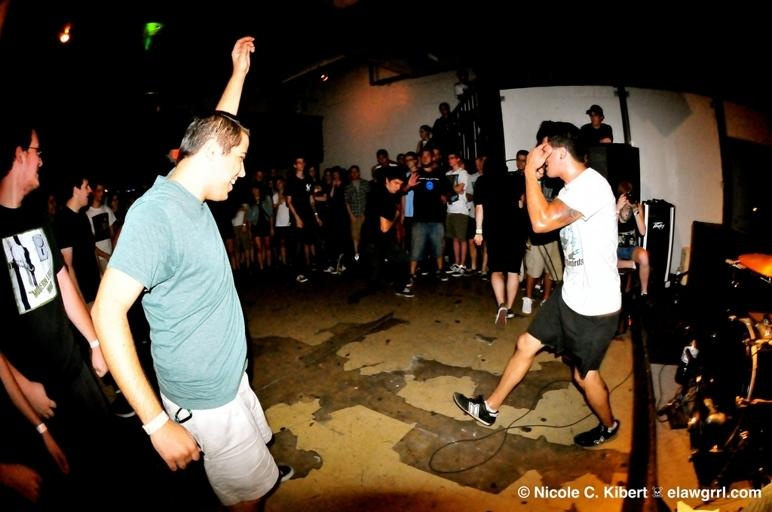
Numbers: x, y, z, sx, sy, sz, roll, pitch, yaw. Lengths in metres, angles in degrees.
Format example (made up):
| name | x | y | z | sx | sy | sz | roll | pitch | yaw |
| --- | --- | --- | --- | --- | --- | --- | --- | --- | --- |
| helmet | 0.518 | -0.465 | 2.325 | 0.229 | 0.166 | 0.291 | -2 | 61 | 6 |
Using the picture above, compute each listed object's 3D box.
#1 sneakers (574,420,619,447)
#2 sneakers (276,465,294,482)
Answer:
| name | x | y | z | sx | sy | sz | roll | pitch | yaw |
| --- | --- | --- | --- | --- | --- | --- | --- | --- | --- |
| sneakers | 2.220 | 1.851 | 4.940 | 0.423 | 0.125 | 0.231 | -23 | 13 | -1 |
| sneakers | -1.020 | 2.218 | 4.791 | 0.151 | 0.098 | 0.199 | -4 | 10 | -16 |
